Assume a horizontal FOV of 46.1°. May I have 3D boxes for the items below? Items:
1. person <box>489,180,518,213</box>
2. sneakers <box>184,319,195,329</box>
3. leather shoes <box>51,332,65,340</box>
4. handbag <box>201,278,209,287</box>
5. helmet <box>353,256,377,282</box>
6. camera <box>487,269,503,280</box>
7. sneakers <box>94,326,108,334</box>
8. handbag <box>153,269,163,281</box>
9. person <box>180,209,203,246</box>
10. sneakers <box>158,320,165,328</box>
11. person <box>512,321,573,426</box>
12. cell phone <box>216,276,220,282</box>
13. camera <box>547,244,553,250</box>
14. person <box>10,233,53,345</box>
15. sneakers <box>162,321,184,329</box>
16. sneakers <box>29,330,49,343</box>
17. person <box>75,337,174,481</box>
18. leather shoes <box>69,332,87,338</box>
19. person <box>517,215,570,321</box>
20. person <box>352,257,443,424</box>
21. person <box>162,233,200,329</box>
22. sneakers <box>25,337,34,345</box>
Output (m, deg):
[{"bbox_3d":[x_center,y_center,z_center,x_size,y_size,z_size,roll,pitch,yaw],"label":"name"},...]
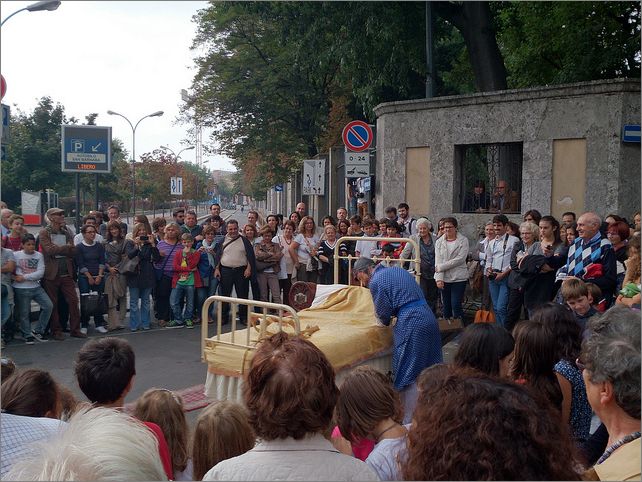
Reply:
[{"bbox_3d":[3.651,-0.916,15.239,0.566,0.868,0.558,-7,6,-34],"label":"person"},{"bbox_3d":[-2.525,1.525,14.187,0.155,0.145,0.402,-2,2,-11],"label":"sneakers"},{"bbox_3d":[-4.611,1.616,13.024,0.330,0.124,0.174,0,2,31],"label":"leather shoes"},{"bbox_3d":[-2.281,0.765,14.604,0.161,0.237,0.141,1,4,-2],"label":"handbag"},{"bbox_3d":[0.569,0.315,9.933,0.275,0.269,0.208,1,-5,0],"label":"helmet"},{"bbox_3d":[2.811,0.517,12.176,0.191,0.102,0.135,36,-20,-29],"label":"camera"},{"bbox_3d":[-4.025,1.575,13.638,0.240,0.107,0.092,1,9,42],"label":"sneakers"},{"bbox_3d":[-3.116,0.606,14.222,0.161,0.179,0.152,12,-3,16],"label":"handbag"},{"bbox_3d":[-2.697,-0.174,15.317,0.475,0.898,0.407,1,-8,-23],"label":"person"},{"bbox_3d":[-3.055,1.528,14.235,0.090,0.116,0.124,2,8,2],"label":"sneakers"},{"bbox_3d":[2.130,1.344,7.493,0.560,1.333,0.469,-5,28,3],"label":"person"},{"bbox_3d":[-2.012,0.684,14.421,0.079,0.118,0.041,20,0,-8],"label":"cell phone"},{"bbox_3d":[3.459,0.071,11.347,0.073,0.081,0.078,2,-8,26],"label":"camera"},{"bbox_3d":[-4.942,0.780,12.735,0.640,1.840,0.356,-2,2,-27],"label":"person"},{"bbox_3d":[-2.813,1.545,14.183,0.348,0.161,0.126,8,-13,-33],"label":"sneakers"},{"bbox_3d":[-4.865,1.622,12.858,0.339,0.140,0.126,37,0,1],"label":"sneakers"},{"bbox_3d":[-1.786,1.487,6.720,1.015,1.114,0.586,-2,10,2],"label":"person"},{"bbox_3d":[-4.288,1.612,13.121,0.316,0.148,0.114,0,1,4],"label":"leather shoes"},{"bbox_3d":[3.264,0.605,11.413,0.639,1.964,0.638,1,13,-9],"label":"person"},{"bbox_3d":[0.946,1.099,9.453,0.852,2.020,0.690,-3,21,20],"label":"person"},{"bbox_3d":[-2.642,0.714,14.244,0.664,1.760,0.498,-1,2,-11],"label":"person"},{"bbox_3d":[-4.977,1.658,12.708,0.085,0.095,0.221,-1,-2,-35],"label":"sneakers"}]
